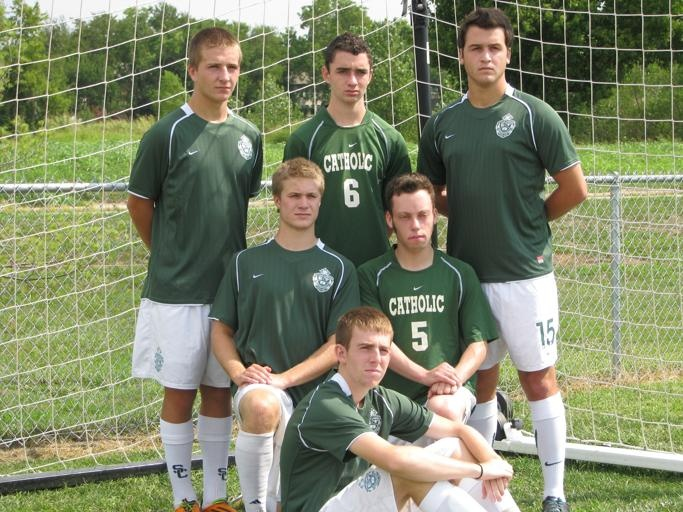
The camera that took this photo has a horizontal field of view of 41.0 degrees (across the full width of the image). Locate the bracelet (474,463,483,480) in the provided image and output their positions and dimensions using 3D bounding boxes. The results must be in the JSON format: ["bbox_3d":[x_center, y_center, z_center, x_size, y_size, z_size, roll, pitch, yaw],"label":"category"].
[{"bbox_3d":[0.982,1.533,6.491,0.053,0.087,0.094,-2,1,9],"label":"bracelet"}]
